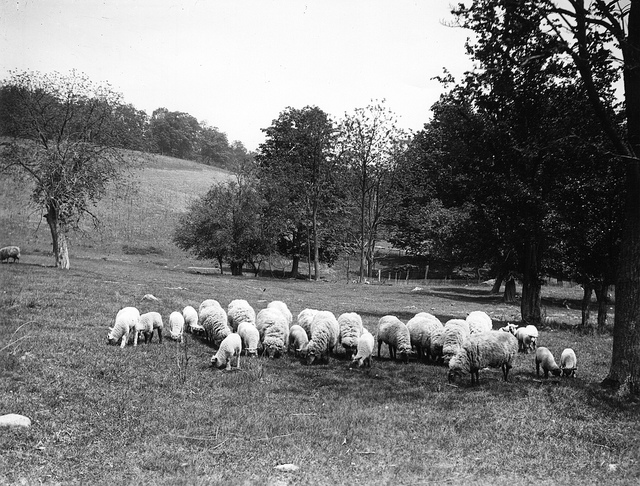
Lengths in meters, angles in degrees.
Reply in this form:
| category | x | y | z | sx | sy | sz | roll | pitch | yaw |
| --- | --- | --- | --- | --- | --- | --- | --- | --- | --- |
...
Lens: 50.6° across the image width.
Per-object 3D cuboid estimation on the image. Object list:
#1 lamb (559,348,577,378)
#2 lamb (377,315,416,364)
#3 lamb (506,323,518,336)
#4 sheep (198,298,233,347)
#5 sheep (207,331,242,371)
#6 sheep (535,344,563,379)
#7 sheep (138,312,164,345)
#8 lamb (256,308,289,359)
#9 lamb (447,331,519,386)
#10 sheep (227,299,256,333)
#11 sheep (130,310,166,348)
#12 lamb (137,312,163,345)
| category | x | y | z | sx | sy | sz | roll | pitch | yaw |
| --- | --- | --- | --- | --- | --- | --- | --- | --- | --- |
| lamb | 8.867 | 4.263 | 24.061 | 0.451 | 0.840 | 1.551 | 2 | 15 | 19 |
| lamb | 2.871 | 3.812 | 26.135 | 0.845 | 1.493 | 2.752 | 2 | 10 | -17 |
| lamb | 8.337 | 3.736 | 29.298 | 0.390 | 0.421 | 0.771 | -3 | -20 | 18 |
| sheep | -3.936 | 2.988 | 26.150 | 0.795 | 1.426 | 2.663 | 0 | 12 | -22 |
| sheep | -3.196 | 3.799 | 23.133 | 0.609 | 1.181 | 2.016 | 4 | 14 | 22 |
| sheep | 7.944 | 4.224 | 23.440 | 0.942 | 0.989 | 1.072 | 8 | 15 | 20 |
| sheep | -6.213 | 3.120 | 24.587 | 0.529 | 1.155 | 1.511 | 3 | 5 | 24 |
| lamb | -1.890 | 3.505 | 26.665 | 1.088 | 1.777 | 3.085 | 8 | 23 | -8 |
| lamb | 5.559 | 3.745 | 22.684 | 1.955 | 1.826 | 1.979 | -2 | 0 | 36 |
| sheep | -3.199 | 2.800 | 27.168 | 0.689 | 0.953 | 1.613 | 1 | -6 | -14 |
| sheep | -6.268 | 3.123 | 24.623 | 0.651 | 1.046 | 1.970 | 2 | 5 | 15 |
| lamb | -6.228 | 3.116 | 24.610 | 0.486 | 1.136 | 1.494 | 8 | 12 | 26 |
